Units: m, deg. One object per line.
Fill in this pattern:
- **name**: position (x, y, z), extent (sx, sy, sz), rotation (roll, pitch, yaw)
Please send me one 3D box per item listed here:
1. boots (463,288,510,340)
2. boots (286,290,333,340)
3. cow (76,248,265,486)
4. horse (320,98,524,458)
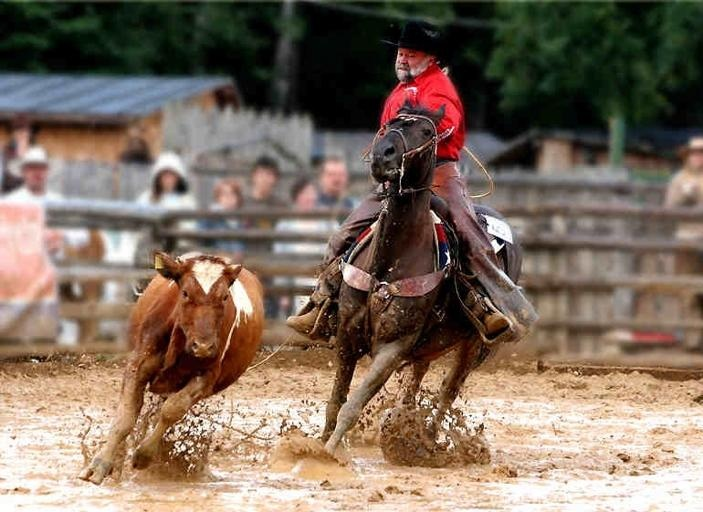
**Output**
- **boots**: position (1.396, 0.647, 16.768), extent (0.245, 0.387, 0.627), rotation (2, 49, -57)
- **boots**: position (-0.411, 0.659, 16.950), extent (0.260, 0.349, 0.798), rotation (23, -8, 16)
- **cow**: position (-1.824, 1.044, 16.353), extent (1.387, 2.289, 1.951), rotation (4, 14, 10)
- **horse**: position (0.486, 0.279, 16.676), extent (1.927, 3.794, 0.684), rotation (-7, 16, -30)
